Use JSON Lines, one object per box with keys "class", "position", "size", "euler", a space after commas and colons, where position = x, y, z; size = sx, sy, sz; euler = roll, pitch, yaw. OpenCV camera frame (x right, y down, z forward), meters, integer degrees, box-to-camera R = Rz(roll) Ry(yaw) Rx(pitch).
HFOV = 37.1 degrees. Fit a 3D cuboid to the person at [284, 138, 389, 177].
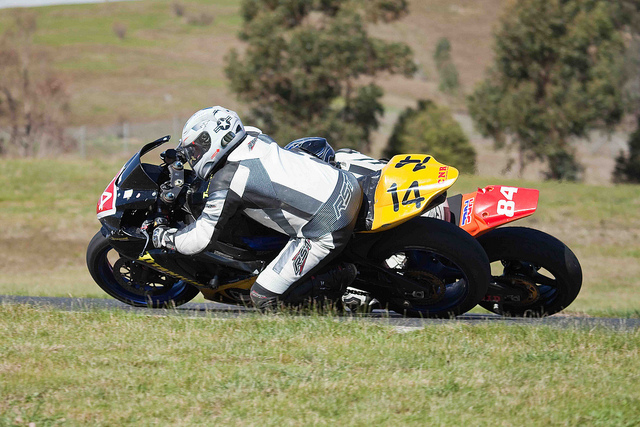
{"class": "person", "position": [-0.056, -0.795, 12.451], "size": [1.197, 0.451, 0.357], "euler": [-4, -9, 40]}
